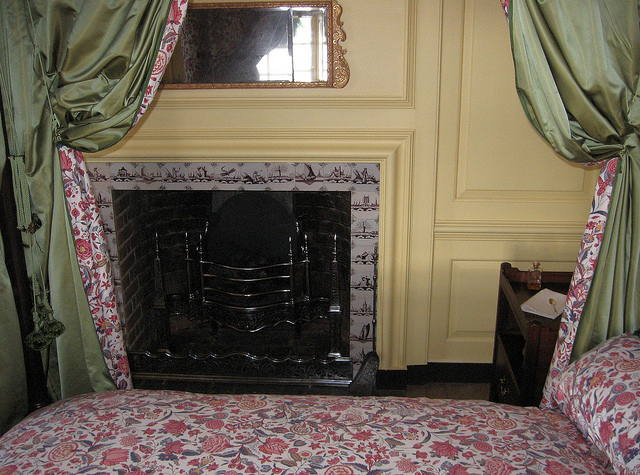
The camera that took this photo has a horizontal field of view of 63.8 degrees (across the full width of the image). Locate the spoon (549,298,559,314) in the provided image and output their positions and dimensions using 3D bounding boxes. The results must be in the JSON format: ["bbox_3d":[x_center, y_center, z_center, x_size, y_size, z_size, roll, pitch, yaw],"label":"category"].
[{"bbox_3d":[1.040,0.303,2.286,0.024,0.011,0.066,-8,28,18],"label":"spoon"}]

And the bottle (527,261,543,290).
[{"bbox_3d":[1.068,0.180,2.548,0.068,0.118,0.154,5,11,24],"label":"bottle"}]

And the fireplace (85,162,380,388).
[{"bbox_3d":[-0.461,0.182,2.851,1.153,0.995,0.421,0,21,4],"label":"fireplace"}]
